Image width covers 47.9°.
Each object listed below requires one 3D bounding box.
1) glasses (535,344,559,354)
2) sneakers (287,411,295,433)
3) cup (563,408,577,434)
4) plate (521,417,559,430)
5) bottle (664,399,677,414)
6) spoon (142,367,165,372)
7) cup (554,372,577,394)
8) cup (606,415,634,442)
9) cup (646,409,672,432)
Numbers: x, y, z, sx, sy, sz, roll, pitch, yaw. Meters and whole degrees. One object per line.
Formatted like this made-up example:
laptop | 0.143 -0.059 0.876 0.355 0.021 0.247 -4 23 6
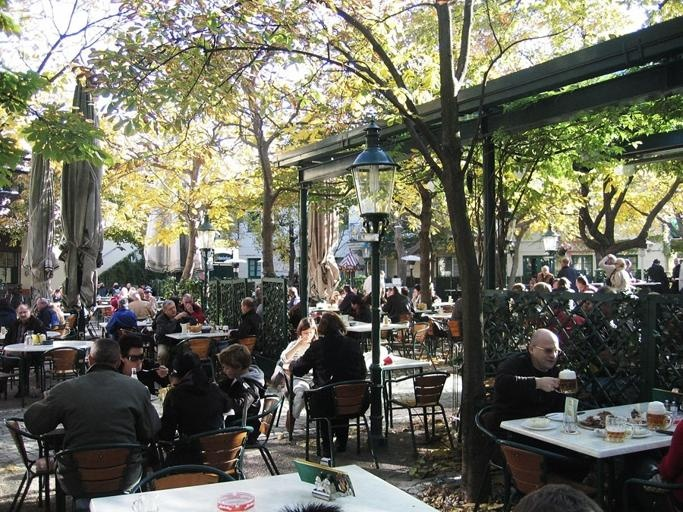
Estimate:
glasses | 2.260 1.022 8.418 0.256 0.094 0.100 3 -8 -23
sneakers | -0.735 2.383 11.145 0.123 0.305 0.277 3 5 0
cup | 2.223 1.617 7.514 0.113 0.211 0.143 -3 -7 21
plate | 2.000 1.682 7.733 0.325 0.102 0.335 -2 -8 15
bottle | 3.414 1.566 8.001 0.056 0.170 0.111 -4 6 -44
spoon | -2.610 1.581 10.709 0.244 0.089 0.138 0 3 -3
cup | 2.276 1.256 7.761 0.160 0.219 0.259 -2 -8 12
cup | 2.674 1.650 7.403 0.216 0.235 0.445 -5 -9 32
cup | 3.128 1.620 7.593 0.212 0.205 0.143 -1 -1 3
